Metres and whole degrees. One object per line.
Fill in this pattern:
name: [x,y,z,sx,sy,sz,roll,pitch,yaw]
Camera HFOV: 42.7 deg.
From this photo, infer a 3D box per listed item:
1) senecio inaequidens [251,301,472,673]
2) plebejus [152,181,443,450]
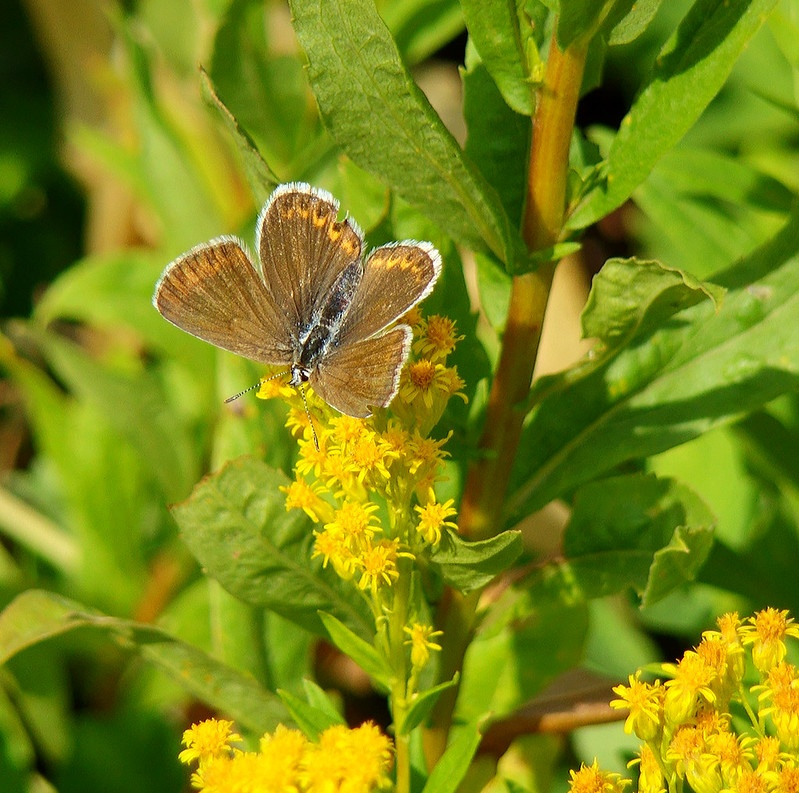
senecio inaequidens: [0.014,0.035,1.056,0.207,0.317,0.314,-12,17,-19]
plebejus: [-0.080,-0.034,1.064,0.286,0.154,0.270,34,85,41]
